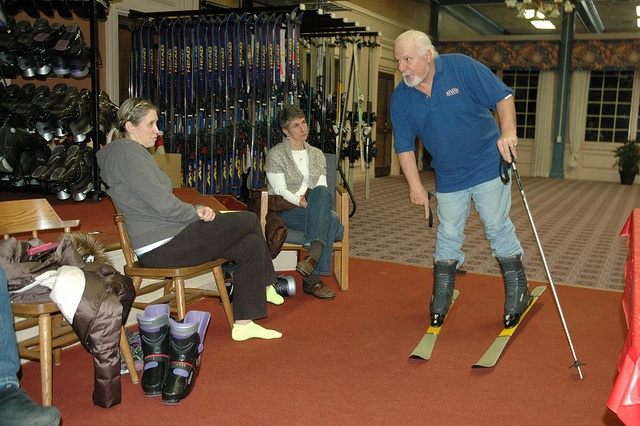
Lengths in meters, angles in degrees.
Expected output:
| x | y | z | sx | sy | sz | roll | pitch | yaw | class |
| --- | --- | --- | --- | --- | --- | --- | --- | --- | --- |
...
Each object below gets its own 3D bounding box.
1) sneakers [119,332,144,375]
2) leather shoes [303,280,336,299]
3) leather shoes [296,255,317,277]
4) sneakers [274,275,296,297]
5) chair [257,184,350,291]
| x | y | z | sx | sy | sz | roll | pitch | yaw | class |
| --- | --- | --- | --- | --- | --- | --- | --- | --- | --- |
| -1.157 | 0.851 | 2.972 | 0.117 | 0.143 | 0.346 | -3 | 12 | -21 | sneakers |
| -0.009 | 0.638 | 3.964 | 0.275 | 0.116 | 0.111 | 10 | 21 | 31 | leather shoes |
| -0.100 | 0.407 | 3.694 | 0.091 | 0.083 | 0.196 | 17 | 29 | 6 | leather shoes |
| -0.277 | 0.567 | 3.764 | 0.162 | 0.149 | 0.127 | 0 | 24 | -5 | sneakers |
| -0.251 | 0.219 | 4.371 | 0.760 | 1.258 | 0.859 | 0 | 0 | -7 | chair |
